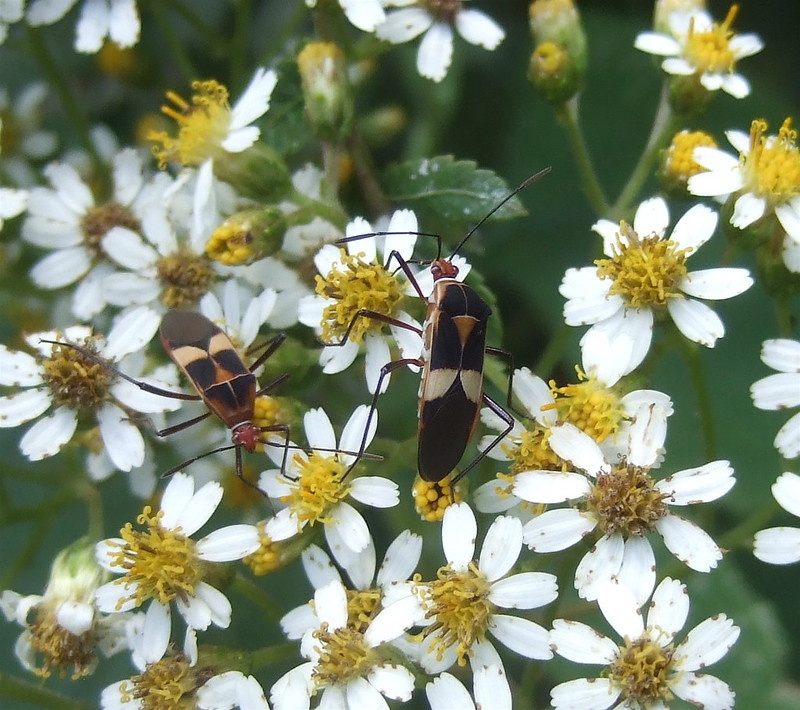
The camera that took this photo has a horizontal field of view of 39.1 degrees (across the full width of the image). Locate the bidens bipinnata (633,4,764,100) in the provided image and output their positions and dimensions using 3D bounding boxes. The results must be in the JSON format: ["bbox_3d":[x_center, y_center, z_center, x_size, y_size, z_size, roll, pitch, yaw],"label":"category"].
[{"bbox_3d":[1.079,-1.113,4.017,0.438,0.120,0.327,24,84,4],"label":"bidens bipinnata"}]

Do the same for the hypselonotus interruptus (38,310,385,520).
[{"bbox_3d":[-0.695,0.043,4.244,0.632,0.951,0.681,-3,111,1],"label":"hypselonotus interruptus"}]

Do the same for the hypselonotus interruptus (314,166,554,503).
[{"bbox_3d":[0.182,0.083,3.864,0.665,0.280,1.172,7,76,-13],"label":"hypselonotus interruptus"}]

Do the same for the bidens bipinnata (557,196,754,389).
[{"bbox_3d":[0.845,-0.243,3.778,0.612,0.184,0.552,-17,83,-1],"label":"bidens bipinnata"}]
